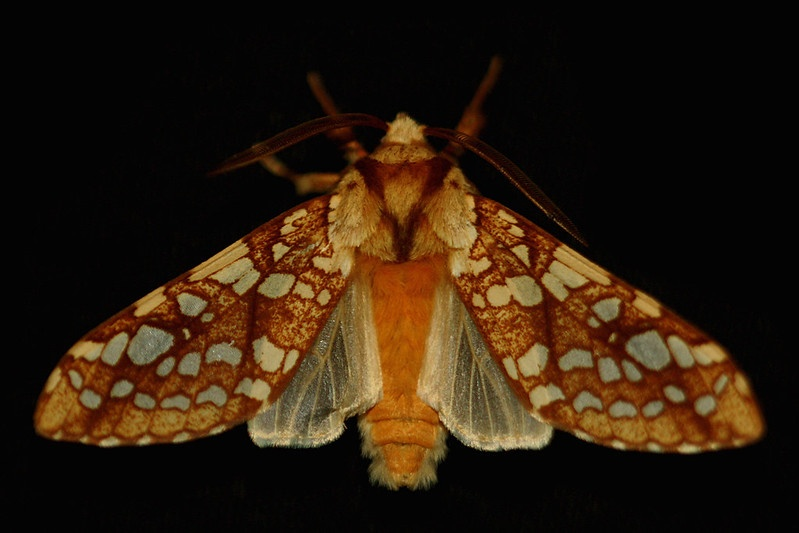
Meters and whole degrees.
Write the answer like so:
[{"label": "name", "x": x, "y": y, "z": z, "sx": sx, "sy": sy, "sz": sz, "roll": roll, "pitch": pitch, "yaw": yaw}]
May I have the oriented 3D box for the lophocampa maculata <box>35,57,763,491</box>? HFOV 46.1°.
[{"label": "lophocampa maculata", "x": 0.010, "y": 0.205, "z": 3.377, "sx": 2.295, "sy": 1.664, "sz": 0.682, "roll": 1, "pitch": 1, "yaw": 5}]
